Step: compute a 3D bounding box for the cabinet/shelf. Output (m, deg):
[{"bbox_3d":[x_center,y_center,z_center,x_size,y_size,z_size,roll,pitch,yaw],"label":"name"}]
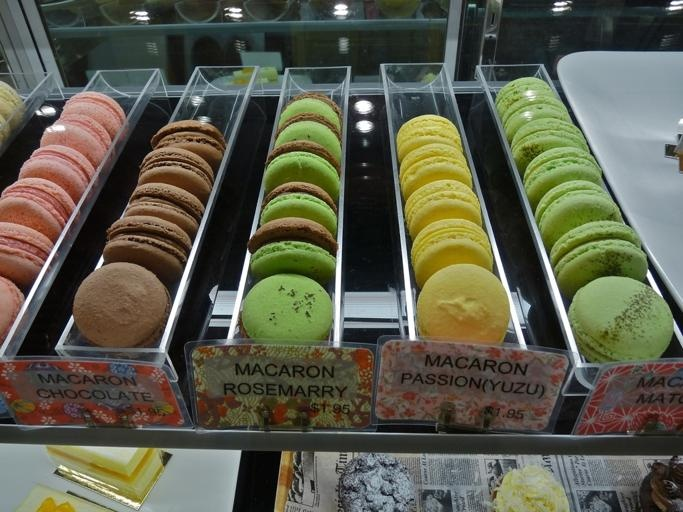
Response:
[{"bbox_3d":[-0.126,0.118,1.874,2.424,1.274,0.483,0,-32,0],"label":"cabinet/shelf"}]
